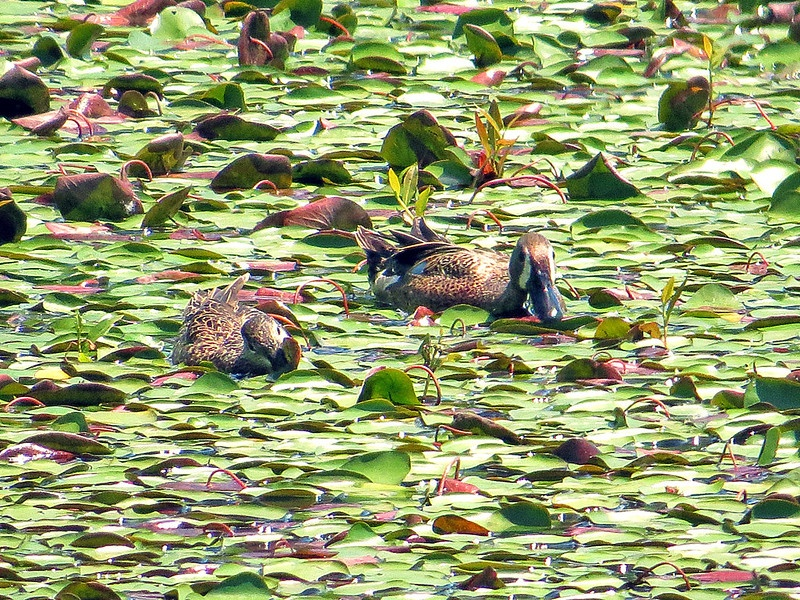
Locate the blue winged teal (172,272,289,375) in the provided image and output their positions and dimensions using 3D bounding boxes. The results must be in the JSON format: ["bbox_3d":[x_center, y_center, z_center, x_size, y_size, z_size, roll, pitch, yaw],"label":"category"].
[{"bbox_3d":[-0.907,0.167,6.932,0.470,0.341,0.672,-8,32,-25],"label":"blue winged teal"}]
